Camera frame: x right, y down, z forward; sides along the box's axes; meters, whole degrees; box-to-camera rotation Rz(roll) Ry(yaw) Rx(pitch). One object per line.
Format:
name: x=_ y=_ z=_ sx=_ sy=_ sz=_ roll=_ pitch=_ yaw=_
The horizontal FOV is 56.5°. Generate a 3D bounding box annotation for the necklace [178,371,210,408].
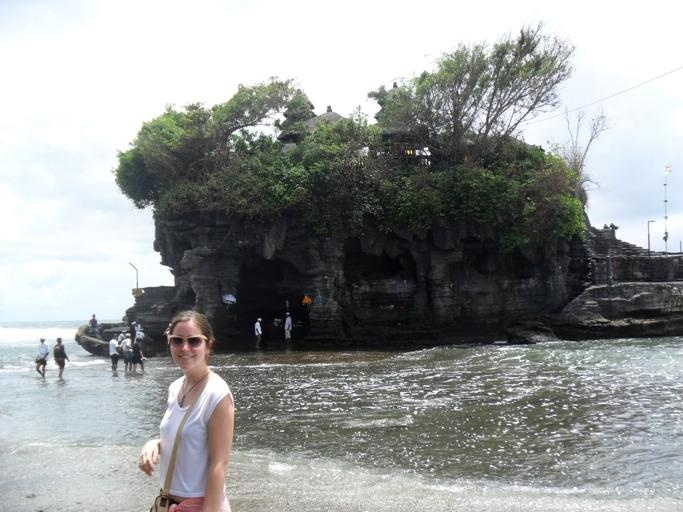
necklace: x=-2.138 y=1.932 z=9.123 sx=0.302 sy=0.535 sz=0.137 roll=2 pitch=-27 yaw=36
